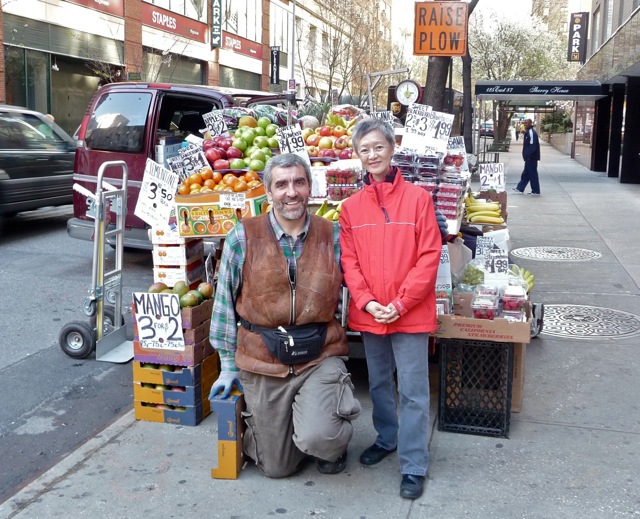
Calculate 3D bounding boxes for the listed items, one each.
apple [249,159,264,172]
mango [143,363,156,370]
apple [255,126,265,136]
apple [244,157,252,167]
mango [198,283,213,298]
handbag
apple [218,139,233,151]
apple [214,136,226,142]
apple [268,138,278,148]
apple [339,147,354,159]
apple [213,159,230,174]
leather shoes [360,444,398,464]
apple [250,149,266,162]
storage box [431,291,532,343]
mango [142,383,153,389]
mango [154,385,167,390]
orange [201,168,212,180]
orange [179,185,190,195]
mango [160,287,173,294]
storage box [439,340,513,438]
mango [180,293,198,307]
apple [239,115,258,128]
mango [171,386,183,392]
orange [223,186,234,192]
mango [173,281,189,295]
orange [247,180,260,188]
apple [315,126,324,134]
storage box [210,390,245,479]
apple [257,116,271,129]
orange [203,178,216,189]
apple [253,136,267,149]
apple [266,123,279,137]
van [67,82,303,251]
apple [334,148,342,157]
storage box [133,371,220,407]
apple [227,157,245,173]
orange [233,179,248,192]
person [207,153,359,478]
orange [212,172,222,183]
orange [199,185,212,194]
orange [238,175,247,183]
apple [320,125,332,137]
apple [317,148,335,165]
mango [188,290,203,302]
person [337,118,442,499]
[{"bbox_3d":[-0.510,-0.768,4.261,0.104,0.102,0.100,13,-5,-11],"label":"apple"},{"bbox_3d":[-1.233,0.771,3.809,0.052,0.053,0.062,-24,-5,30],"label":"mango"},{"bbox_3d":[-0.549,-1.195,4.852,0.088,0.090,0.048,7,-19,-32],"label":"apple"},{"bbox_3d":[-0.585,-0.810,4.318,0.072,0.069,0.075,17,22,21],"label":"apple"},{"bbox_3d":[-0.862,0.232,3.978,0.105,0.128,0.102,4,-1,15],"label":"mango"},{"bbox_3d":[-0.132,0.481,3.287,0.399,0.189,0.483,-4,8,-7],"label":"handbag"},{"bbox_3d":[-0.824,-1.003,4.591,0.095,0.094,0.095,-2,9,-38],"label":"apple"},{"bbox_3d":[-0.891,-1.089,4.694,0.088,0.050,0.090,0,9,9],"label":"apple"},{"bbox_3d":[-0.402,-1.046,4.748,0.087,0.091,0.107,6,-16,17],"label":"apple"},{"bbox_3d":[0.248,-0.950,4.643,0.090,0.063,0.111,-2,18,9],"label":"apple"},{"bbox_3d":[-0.801,-0.777,4.323,0.121,0.121,0.117,6,14,3],"label":"apple"},{"bbox_3d":[0.370,1.213,3.272,0.228,0.093,0.082,-4,2,-41],"label":"leather shoes"},{"bbox_3d":[-0.505,-0.867,4.398,0.109,0.115,0.107,19,-13,-41],"label":"apple"},{"bbox_3d":[1.093,0.469,3.508,0.605,0.186,0.134,3,13,12],"label":"storage box"},{"bbox_3d":[-1.244,0.911,3.805,0.041,0.031,0.043,-6,-8,43],"label":"mango"},{"bbox_3d":[-1.153,0.915,3.767,0.037,0.029,0.039,-1,-1,34],"label":"mango"},{"bbox_3d":[-0.896,-0.688,4.182,0.075,0.078,0.077,-20,-12,-42],"label":"orange"},{"bbox_3d":[-1.034,-0.534,4.041,0.075,0.074,0.089,32,-1,-6],"label":"orange"},{"bbox_3d":[-1.128,0.227,3.876,0.048,0.060,0.049,-2,-2,38],"label":"mango"},{"bbox_3d":[1.108,0.829,3.698,0.501,0.660,0.448,4,14,17],"label":"storage box"},{"bbox_3d":[-0.958,0.304,3.836,0.090,0.103,0.115,0,-28,25],"label":"mango"},{"bbox_3d":[-0.675,-1.327,5.065,0.149,0.122,0.117,18,12,15],"label":"apple"},{"bbox_3d":[-1.020,0.933,3.779,0.043,0.033,0.051,0,-21,1],"label":"mango"},{"bbox_3d":[-0.670,-0.515,3.834,0.067,0.027,0.069,-1,3,39],"label":"orange"},{"bbox_3d":[-1.038,0.208,3.956,0.095,0.118,0.100,6,3,9],"label":"mango"},{"bbox_3d":[-0.495,-0.574,3.960,0.083,0.031,0.085,4,22,19],"label":"orange"},{"bbox_3d":[-0.004,-1.300,5.327,0.097,0.065,0.103,1,36,4],"label":"apple"},{"bbox_3d":[-0.537,1.037,3.108,0.173,0.449,0.499,1,0,4],"label":"storage box"},{"bbox_3d":[-0.523,-1.291,4.969,0.101,0.105,0.122,-3,1,42],"label":"apple"},{"bbox_3d":[-0.852,-0.593,4.061,0.079,0.082,0.072,12,-25,-4],"label":"orange"},{"bbox_3d":[-0.513,-1.038,4.605,0.095,0.105,0.114,13,28,39],"label":"apple"},{"bbox_3d":[-0.444,-1.211,4.878,0.129,0.133,0.155,-2,13,-23],"label":"apple"},{"bbox_3d":[-2.186,-1.467,8.294,3.382,1.935,2.452,4,10,18],"label":"van"},{"bbox_3d":[0.161,-0.951,4.642,0.068,0.070,0.083,-3,-9,32],"label":"apple"},{"bbox_3d":[-1.028,0.908,3.678,0.307,0.118,0.317,2,3,10],"label":"storage box"},{"bbox_3d":[-0.667,-0.773,4.275,0.111,0.110,0.112,-11,-28,34],"label":"apple"},{"bbox_3d":[-0.598,-0.562,3.950,0.103,0.078,0.139,3,6,-1],"label":"orange"},{"bbox_3d":[-0.185,0.424,3.231,1.106,2.002,0.687,-2,19,-4],"label":"person"},{"bbox_3d":[-0.815,-0.660,4.171,0.081,0.081,0.081,5,8,-34],"label":"orange"},{"bbox_3d":[-0.853,-0.530,3.937,0.084,0.058,0.103,1,8,-2],"label":"orange"},{"bbox_3d":[-0.606,-0.643,4.148,0.042,0.044,0.051,-5,7,41],"label":"orange"},{"bbox_3d":[0.057,-1.296,5.253,0.111,0.113,0.112,19,21,-8],"label":"apple"},{"bbox_3d":[0.069,-0.920,4.623,0.114,0.141,0.078,1,-33,8],"label":"apple"},{"bbox_3d":[-0.910,0.268,3.866,0.093,0.082,0.077,7,-19,-43],"label":"mango"},{"bbox_3d":[0.452,0.231,3.076,0.460,2.083,0.812,-9,16,-33],"label":"person"}]
